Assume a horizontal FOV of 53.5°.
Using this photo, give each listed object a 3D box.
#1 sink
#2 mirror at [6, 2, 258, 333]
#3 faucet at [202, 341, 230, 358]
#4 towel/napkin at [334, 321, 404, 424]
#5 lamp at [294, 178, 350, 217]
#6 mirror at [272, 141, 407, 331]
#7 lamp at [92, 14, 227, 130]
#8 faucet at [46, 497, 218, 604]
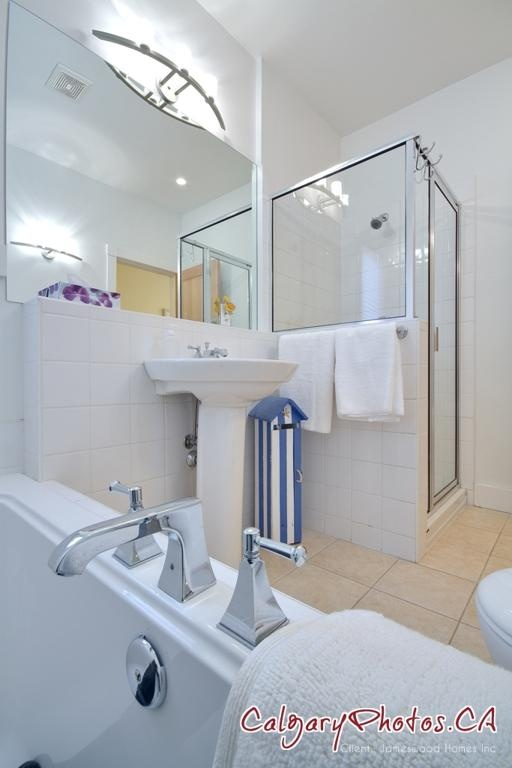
[{"bbox_3d":[-0.121,-0.015,1.515,0.468,0.117,0.220,0,2,4],"label":"sink"},{"bbox_3d":[-0.364,-0.747,1.862,0.172,1.023,1.173,1,2,29],"label":"mirror"},{"bbox_3d":[-0.145,-0.120,1.787,0.043,0.076,0.124,-1,0,-30],"label":"faucet"},{"bbox_3d":[0.385,-0.063,1.876,0.258,0.389,0.120,-3,31,4],"label":"towel/napkin"},{"bbox_3d":[0.301,-0.818,2.275,0.179,0.085,0.141,7,4,45],"label":"lamp"},{"bbox_3d":[0.328,-0.588,2.207,0.072,0.669,0.761,-1,2,-39],"label":"mirror"},{"bbox_3d":[-0.356,-1.156,1.926,0.090,0.208,0.730,4,6,28],"label":"lamp"},{"bbox_3d":[-0.142,0.220,0.633,0.194,0.133,0.060,-9,18,-38],"label":"faucet"}]
